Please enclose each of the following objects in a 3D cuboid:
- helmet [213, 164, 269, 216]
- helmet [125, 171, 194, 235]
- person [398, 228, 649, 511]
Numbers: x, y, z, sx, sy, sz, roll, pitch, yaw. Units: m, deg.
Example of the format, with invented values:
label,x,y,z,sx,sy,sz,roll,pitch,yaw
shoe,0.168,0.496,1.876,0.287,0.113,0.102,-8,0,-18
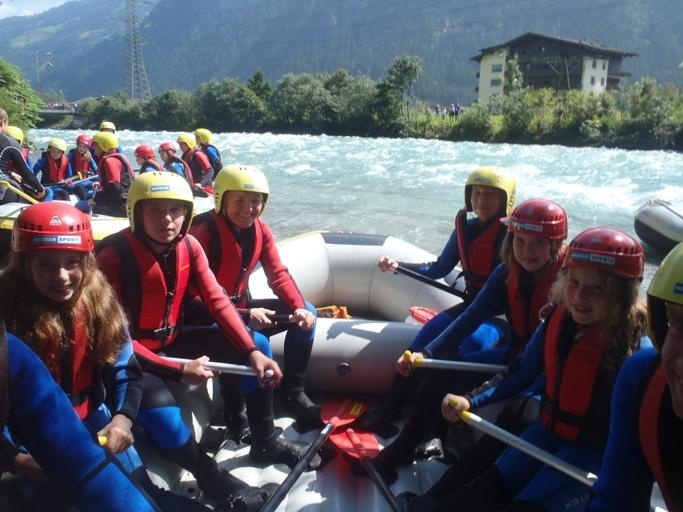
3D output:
label,x,y,z,sx,sy,sz,roll,pitch,yaw
helmet,-0.684,-0.452,4.358,0.246,0.280,0.343,2,25,-36
helmet,-1.010,-0.296,3.686,0.264,0.324,0.376,4,-2,-23
person,1.261,0.444,3.917,1.315,1.698,1.187,8,15,-18
